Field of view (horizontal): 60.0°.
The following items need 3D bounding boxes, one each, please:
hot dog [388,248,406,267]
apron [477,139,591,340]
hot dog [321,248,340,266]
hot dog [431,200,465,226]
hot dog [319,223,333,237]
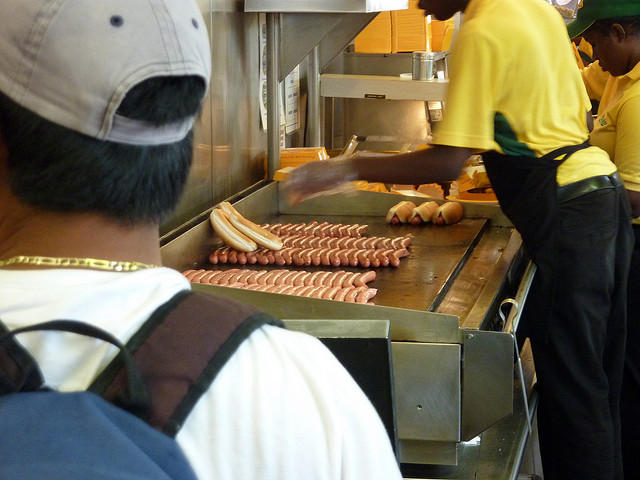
[{"bbox_3d":[0.333,0.072,2.380,0.066,0.017,0.065,-21,24,-37],"label":"hot dog"},{"bbox_3d":[0.907,-0.010,2.258,0.449,0.855,0.456,11,25,28],"label":"apron"},{"bbox_3d":[0.039,0.072,2.441,0.057,0.017,0.061,-27,15,5],"label":"hot dog"},{"bbox_3d":[0.650,-0.142,2.857,0.089,0.086,0.178,2,26,35],"label":"hot dog"},{"bbox_3d":[0.033,-0.048,2.785,0.048,0.015,0.054,-5,40,32],"label":"hot dog"}]
